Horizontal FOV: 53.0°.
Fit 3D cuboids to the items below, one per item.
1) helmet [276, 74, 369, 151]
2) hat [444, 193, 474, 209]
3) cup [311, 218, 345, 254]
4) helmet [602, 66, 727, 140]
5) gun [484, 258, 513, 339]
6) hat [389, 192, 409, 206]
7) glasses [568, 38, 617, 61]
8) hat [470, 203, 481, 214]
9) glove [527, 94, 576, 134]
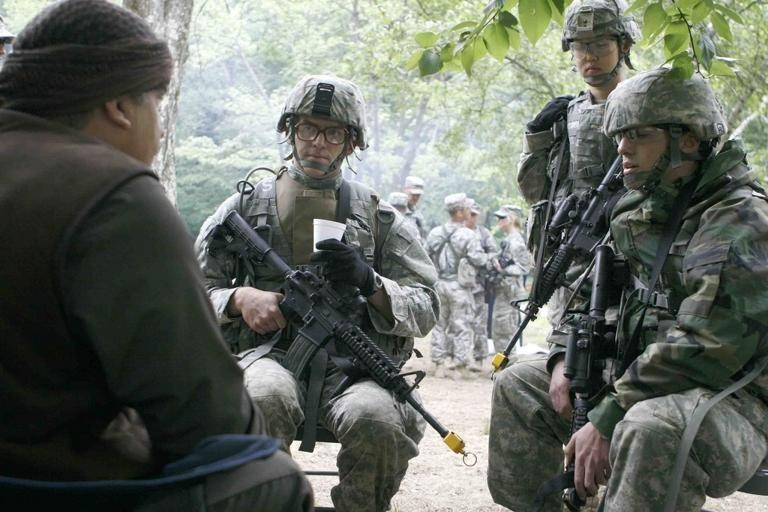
[{"bbox_3d":[-0.341,-0.958,4.930,0.587,0.347,0.550,12,13,6],"label":"helmet"},{"bbox_3d":[1.349,-0.924,13.240,0.323,0.160,0.466,4,3,45],"label":"hat"},{"bbox_3d":[-0.345,-0.110,4.552,0.192,0.145,0.190,11,-13,3],"label":"cup"},{"bbox_3d":[1.564,-0.824,4.307,0.561,0.370,0.420,-1,8,7],"label":"helmet"},{"bbox_3d":[1.905,0.664,12.662,0.528,1.339,0.156,13,-9,-28],"label":"gun"},{"bbox_3d":[0.267,-1.000,13.762,0.351,0.198,0.337,4,0,-2],"label":"hat"},{"bbox_3d":[1.505,-1.481,5.484,0.182,0.064,0.220,-1,2,25],"label":"glasses"},{"bbox_3d":[1.738,-0.872,14.505,0.202,0.212,0.253,-5,-13,3],"label":"hat"},{"bbox_3d":[1.256,-1.024,5.825,0.174,0.171,0.571,-25,4,-17],"label":"glove"}]
